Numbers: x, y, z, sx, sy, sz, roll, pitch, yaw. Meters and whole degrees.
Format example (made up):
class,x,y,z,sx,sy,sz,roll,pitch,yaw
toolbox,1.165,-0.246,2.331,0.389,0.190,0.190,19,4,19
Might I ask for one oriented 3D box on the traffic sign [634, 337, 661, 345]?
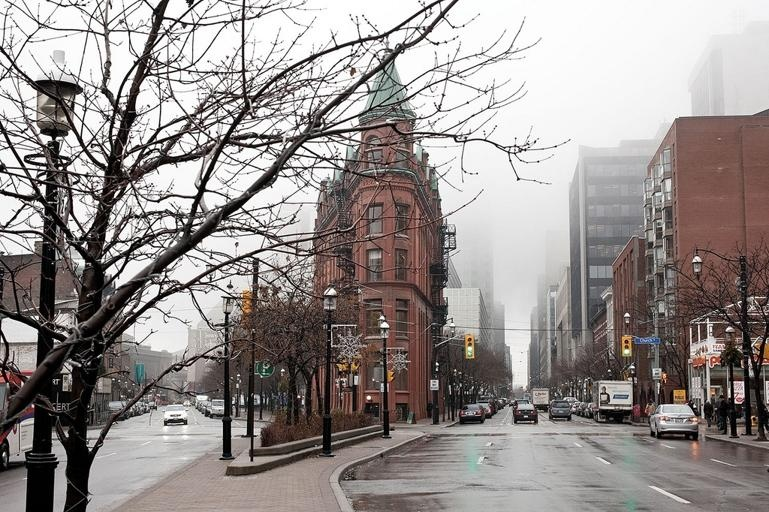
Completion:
class,x,y,z,sx,sy,sz,roll,pitch,yaw
traffic sign,20.249,6.462,67.684,1.338,0.408,1.440,2,-8,-16

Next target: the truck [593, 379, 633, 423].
class,x,y,z,sx,sy,sz,roll,pitch,yaw
truck,19.794,12.763,76.983,2.794,3.430,6.075,1,-9,6

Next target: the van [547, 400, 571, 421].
class,x,y,z,sx,sy,sz,roll,pitch,yaw
van,16.630,14.555,83.448,1.312,1.239,2.499,-1,-19,5

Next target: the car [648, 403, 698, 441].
class,x,y,z,sx,sy,sz,roll,pitch,yaw
car,13.995,7.997,42.529,2.337,2.023,2.218,-11,-18,28
